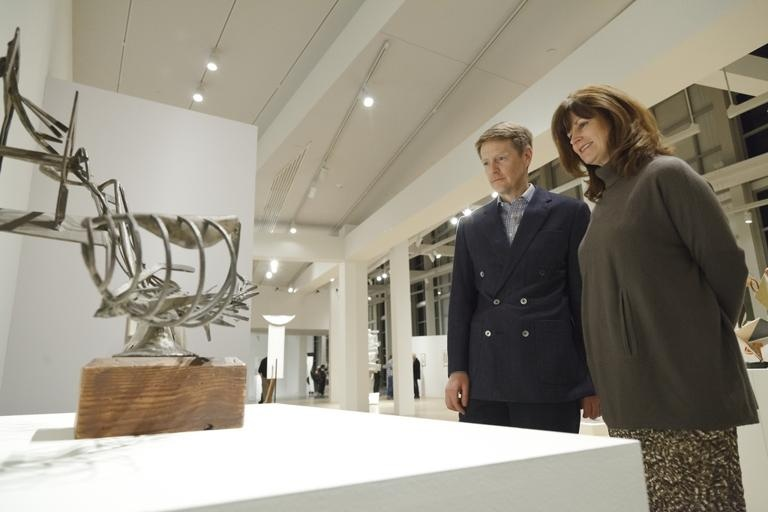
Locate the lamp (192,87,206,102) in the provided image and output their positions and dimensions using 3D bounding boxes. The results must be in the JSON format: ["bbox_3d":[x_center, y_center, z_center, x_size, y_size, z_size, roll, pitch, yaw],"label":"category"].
[{"bbox_3d":[-2.103,-1.841,5.171,0.106,0.111,0.110,12,-36,0],"label":"lamp"}]

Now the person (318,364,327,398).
[{"bbox_3d":[-2.219,4.513,16.516,0.353,1.124,1.643,0,-19,-7],"label":"person"}]
